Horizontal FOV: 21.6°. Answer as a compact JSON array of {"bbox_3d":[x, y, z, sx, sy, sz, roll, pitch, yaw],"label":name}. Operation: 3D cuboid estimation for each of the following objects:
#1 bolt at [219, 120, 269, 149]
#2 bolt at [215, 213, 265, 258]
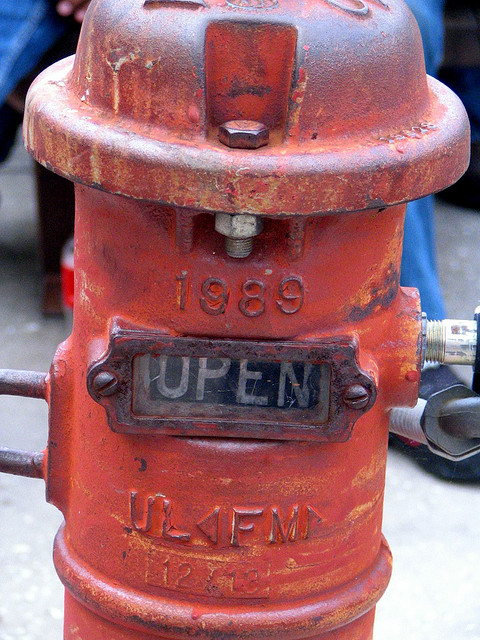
[{"bbox_3d":[0.006,-0.257,1.746,0.065,0.028,0.066,6,27,13],"label":"bolt"},{"bbox_3d":[0.003,-0.118,1.778,0.068,0.087,0.065,-1,24,0],"label":"bolt"}]
